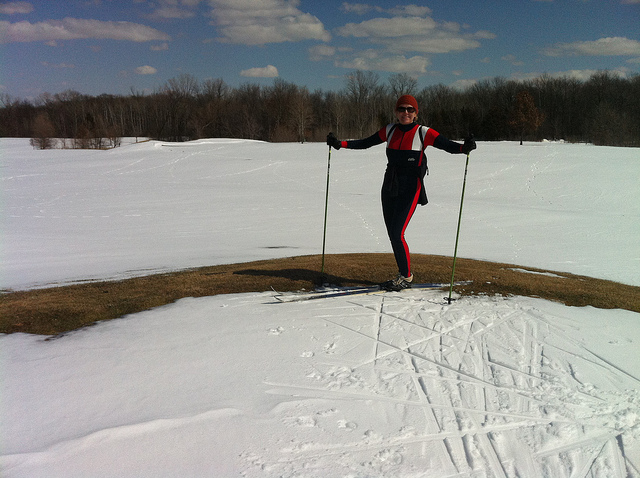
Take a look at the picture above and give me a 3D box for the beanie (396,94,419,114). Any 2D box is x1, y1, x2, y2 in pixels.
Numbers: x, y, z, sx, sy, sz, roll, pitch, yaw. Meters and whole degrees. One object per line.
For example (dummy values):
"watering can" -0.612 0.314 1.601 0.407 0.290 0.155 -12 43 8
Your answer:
"beanie" 1.366 -2.130 7.941 0.295 0.223 0.293 14 -1 4

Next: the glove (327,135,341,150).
"glove" 0.260 -1.662 8.571 0.267 0.084 0.265 36 -25 4

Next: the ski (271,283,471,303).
"ski" 0.666 0.862 8.180 2.770 0.083 0.284 -3 5 -12

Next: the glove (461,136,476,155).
"glove" 2.150 -1.351 7.412 0.196 0.235 0.297 -1 5 15
